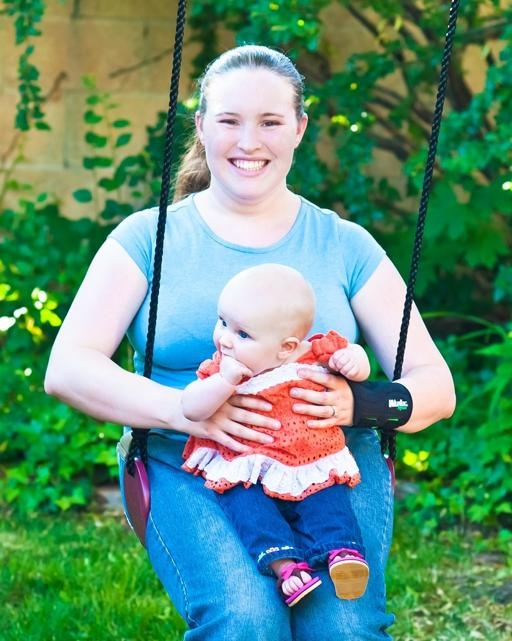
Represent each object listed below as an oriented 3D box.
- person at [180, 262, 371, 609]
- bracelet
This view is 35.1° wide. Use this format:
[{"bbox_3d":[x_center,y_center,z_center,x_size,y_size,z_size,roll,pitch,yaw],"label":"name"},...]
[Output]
[{"bbox_3d":[0.055,0.242,1.753,0.424,0.725,0.380,1,7,-5],"label":"person"},{"bbox_3d":[0.274,0.205,1.963,0.212,0.133,0.120,2,-16,-13],"label":"bracelet"}]
